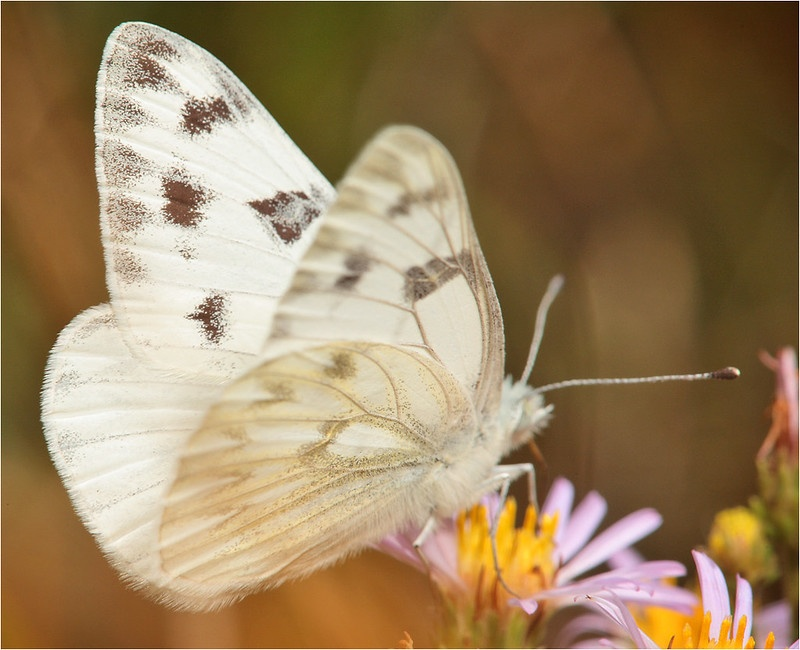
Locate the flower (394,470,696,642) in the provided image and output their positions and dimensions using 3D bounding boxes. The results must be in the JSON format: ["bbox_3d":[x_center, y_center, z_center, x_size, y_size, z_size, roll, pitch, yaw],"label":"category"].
[{"bbox_3d":[0.361,0.626,2.461,0.533,0.491,0.253,0,-66,7],"label":"flower"}]
